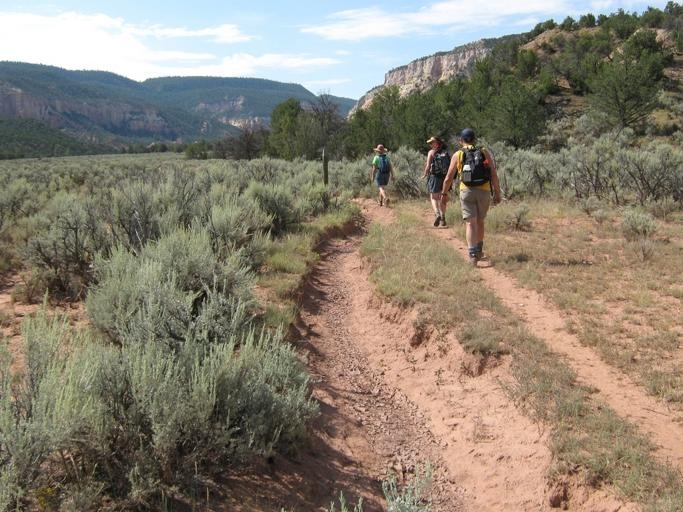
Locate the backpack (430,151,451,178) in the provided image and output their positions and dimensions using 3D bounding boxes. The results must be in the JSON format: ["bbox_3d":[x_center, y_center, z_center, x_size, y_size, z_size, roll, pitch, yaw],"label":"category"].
[{"bbox_3d":[2.390,-2.191,15.267,0.586,0.863,0.430,1,-5,-5],"label":"backpack"}]

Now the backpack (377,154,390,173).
[{"bbox_3d":[1.260,-2.695,18.304,0.390,0.750,0.398,-1,-4,-15],"label":"backpack"}]

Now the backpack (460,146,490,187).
[{"bbox_3d":[2.520,-1.658,11.637,0.540,0.940,0.431,-3,-4,4],"label":"backpack"}]

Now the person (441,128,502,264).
[{"bbox_3d":[2.514,-1.200,12.148,1.003,2.636,1.229,-2,7,21],"label":"person"}]

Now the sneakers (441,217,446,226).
[{"bbox_3d":[2.508,-0.833,15.165,0.145,0.217,0.173,0,0,-1],"label":"sneakers"}]

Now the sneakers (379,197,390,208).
[{"bbox_3d":[1.405,-1.666,19.493,0.151,0.268,0.491,-1,-4,-12],"label":"sneakers"}]
